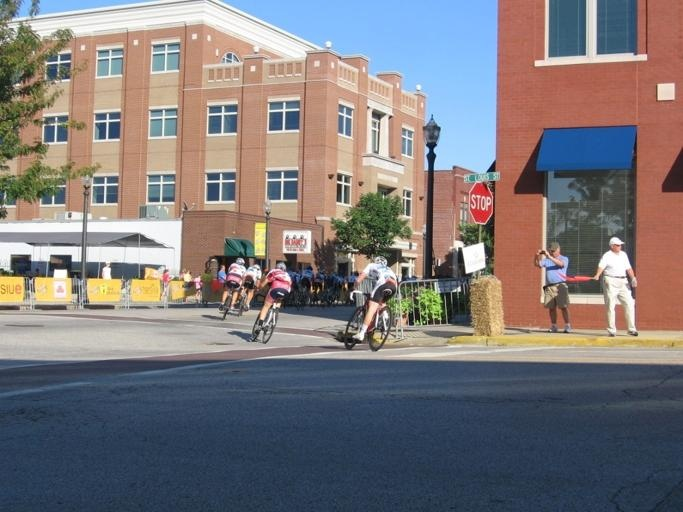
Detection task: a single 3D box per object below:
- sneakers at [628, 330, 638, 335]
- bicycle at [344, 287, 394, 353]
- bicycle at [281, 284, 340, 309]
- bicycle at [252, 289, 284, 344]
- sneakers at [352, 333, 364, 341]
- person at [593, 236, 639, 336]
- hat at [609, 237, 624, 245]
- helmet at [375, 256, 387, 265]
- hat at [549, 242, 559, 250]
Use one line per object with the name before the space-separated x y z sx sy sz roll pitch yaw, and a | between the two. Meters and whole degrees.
sneakers | 6.645 1.780 18.065 0.268 0.121 0.095 0 3 33
bicycle | 0.588 1.560 17.914 0.707 1.062 1.748 22 1 -22
bicycle | -1.534 2.132 39.752 1.096 1.357 2.296 2 4 32
bicycle | -1.727 1.503 19.784 0.734 0.927 1.490 16 1 -12
sneakers | 0.393 1.748 17.007 0.171 0.160 0.417 4 -6 -13
person | 6.315 0.729 18.235 0.885 2.284 0.683 1 -6 18
hat | 6.594 -0.350 19.019 0.273 0.158 0.206 2 6 -2
helmet | 0.901 0.146 17.682 0.199 0.230 0.172 -1 9 32
hat | 5.172 -0.233 19.203 0.195 0.224 0.245 -3 -21 3
